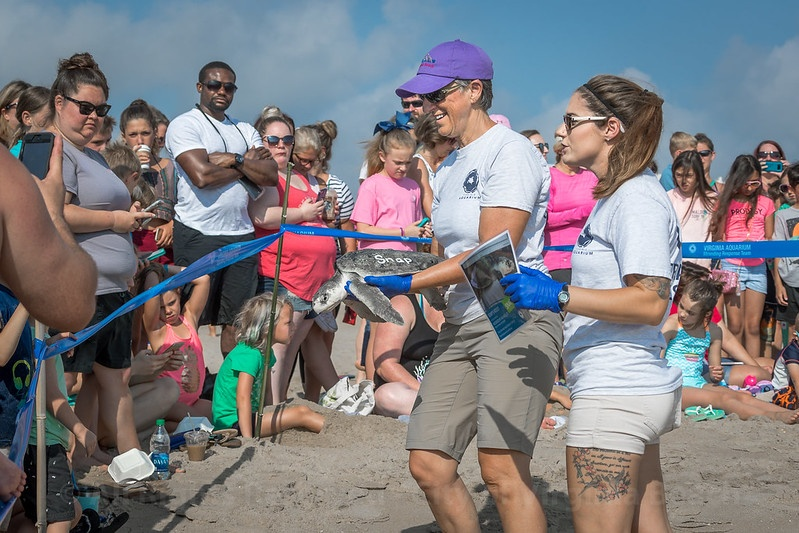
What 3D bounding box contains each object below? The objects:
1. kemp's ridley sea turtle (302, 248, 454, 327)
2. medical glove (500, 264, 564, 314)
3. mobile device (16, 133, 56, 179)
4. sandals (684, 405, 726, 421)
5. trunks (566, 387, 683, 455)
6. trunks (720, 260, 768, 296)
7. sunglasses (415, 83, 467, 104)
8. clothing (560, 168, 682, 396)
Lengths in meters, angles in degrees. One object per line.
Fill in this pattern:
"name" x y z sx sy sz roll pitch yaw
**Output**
"kemp's ridley sea turtle" -0.110 0.114 6.653 0.718 0.226 0.499 -5 12 -26
"medical glove" 0.782 0.140 6.219 0.310 0.089 0.226 29 56 17
"mobile device" -2.132 -0.657 6.321 0.337 0.274 0.166 9 10 44
"sandals" 2.657 1.286 9.270 0.252 0.074 0.137 -1 9 12
"trunks" 1.373 0.943 6.585 0.720 0.430 1.036 3 0 22
"trunks" 3.687 0.142 11.493 0.541 0.466 0.323 -2 -4 13
"sunglasses" 0.303 -1.115 6.759 0.205 0.053 0.150 -30 11 -28
"clothing" 1.330 0.133 6.747 0.868 1.470 1.574 8 -6 5
